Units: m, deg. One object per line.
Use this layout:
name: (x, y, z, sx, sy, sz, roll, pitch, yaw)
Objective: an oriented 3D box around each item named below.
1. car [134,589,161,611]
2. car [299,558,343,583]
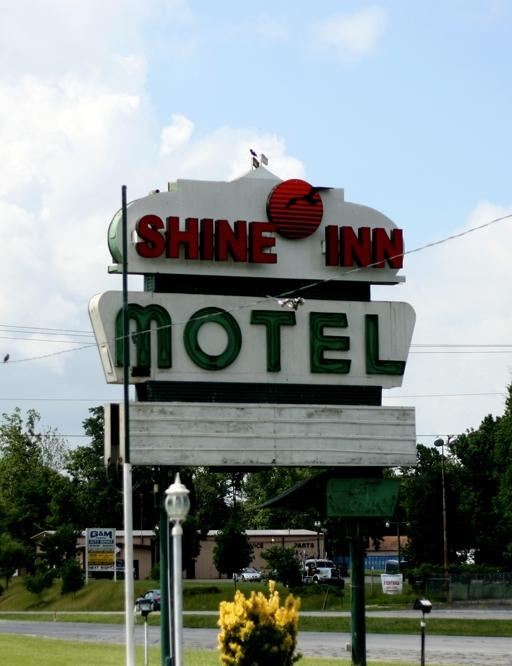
car: (-5.379, 14.354, 100.077, 1.197, 1.133, 2.091, -4, -9, 11)
car: (3.940, 14.783, 115.947, 1.191, 1.396, 2.479, 3, -19, -15)
